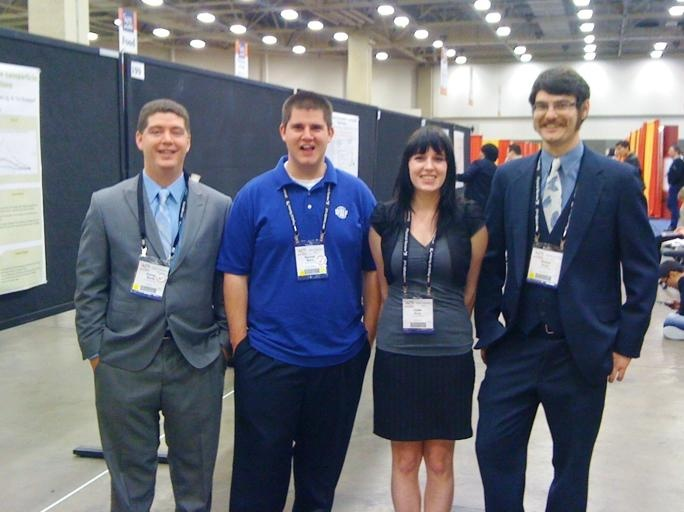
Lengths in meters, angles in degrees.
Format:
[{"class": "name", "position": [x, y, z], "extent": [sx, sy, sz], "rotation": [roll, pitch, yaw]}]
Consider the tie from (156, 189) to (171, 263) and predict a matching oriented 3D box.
[{"class": "tie", "position": [-0.750, -0.143, 2.413], "extent": [0.062, 0.337, 0.055], "rotation": [-10, -11, 44]}]
